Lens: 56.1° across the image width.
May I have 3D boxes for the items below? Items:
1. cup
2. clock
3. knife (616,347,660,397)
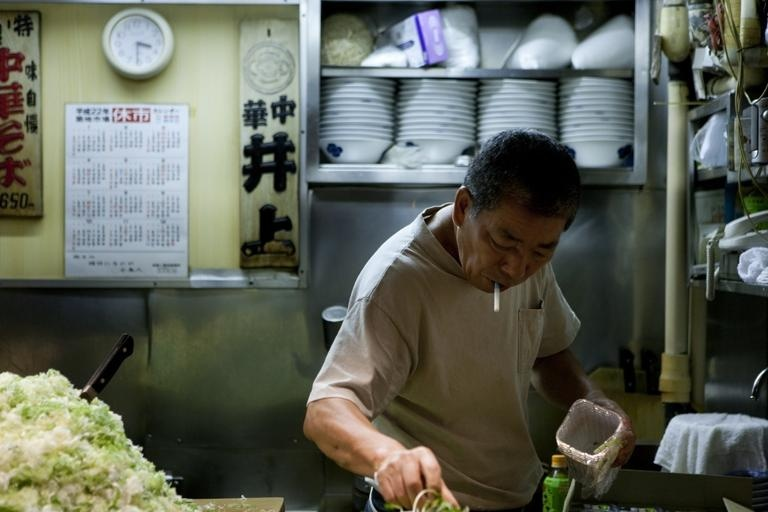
[{"bbox_3d":[0.710,0.670,2.464,0.209,0.335,0.167,0,1,-40],"label":"cup"},{"bbox_3d":[-1.269,-1.082,3.843,0.328,0.347,0.337,1,3,-2],"label":"clock"},{"bbox_3d":[1.340,0.601,3.758,0.223,0.217,0.056,1,-3,7],"label":"knife"}]
